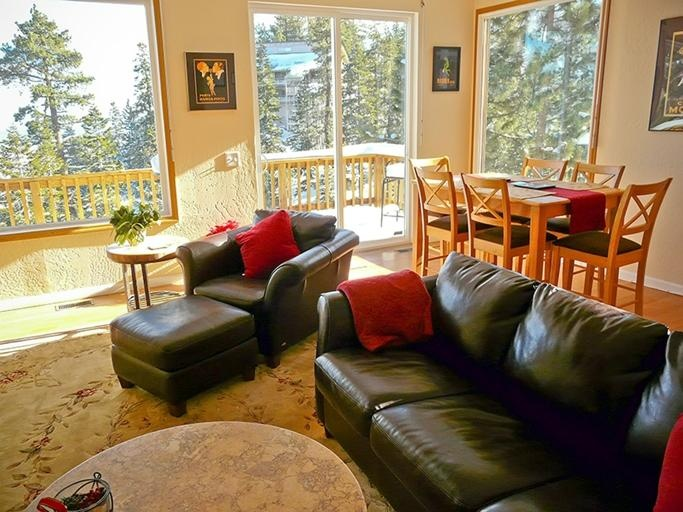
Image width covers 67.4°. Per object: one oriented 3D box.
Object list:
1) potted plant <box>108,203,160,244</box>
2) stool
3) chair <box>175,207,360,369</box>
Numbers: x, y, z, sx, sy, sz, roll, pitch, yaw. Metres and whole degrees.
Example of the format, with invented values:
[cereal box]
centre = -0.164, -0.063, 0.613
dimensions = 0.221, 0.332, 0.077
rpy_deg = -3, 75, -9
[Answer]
[potted plant]
centre = -1.629, -0.273, 4.164
dimensions = 0.400, 0.259, 0.381
rpy_deg = -1, 11, -11
[stool]
centre = -0.970, 0.517, 3.212
dimensions = 0.729, 0.487, 0.741
rpy_deg = 12, 18, 39
[chair]
centre = -0.459, 0.069, 3.949
dimensions = 1.201, 0.956, 1.162
rpy_deg = 8, 16, 35
